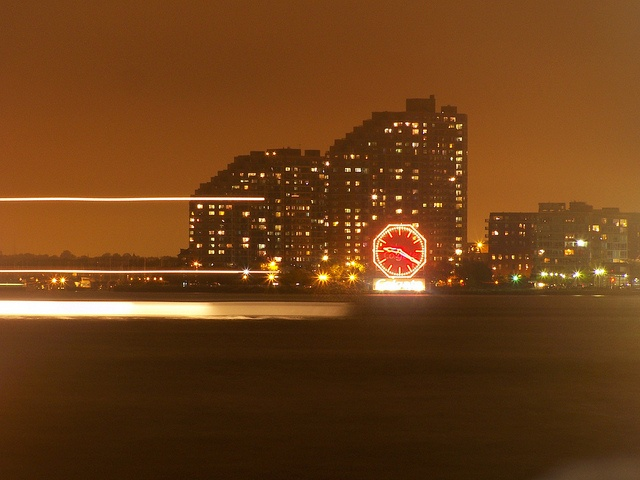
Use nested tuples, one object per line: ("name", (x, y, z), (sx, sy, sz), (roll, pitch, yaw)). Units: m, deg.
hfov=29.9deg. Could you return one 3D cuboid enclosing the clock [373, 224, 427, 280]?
("clock", (2.395, 0.225, 36.667), (1.640, 1.726, 0.113), (3, 3, 17))
